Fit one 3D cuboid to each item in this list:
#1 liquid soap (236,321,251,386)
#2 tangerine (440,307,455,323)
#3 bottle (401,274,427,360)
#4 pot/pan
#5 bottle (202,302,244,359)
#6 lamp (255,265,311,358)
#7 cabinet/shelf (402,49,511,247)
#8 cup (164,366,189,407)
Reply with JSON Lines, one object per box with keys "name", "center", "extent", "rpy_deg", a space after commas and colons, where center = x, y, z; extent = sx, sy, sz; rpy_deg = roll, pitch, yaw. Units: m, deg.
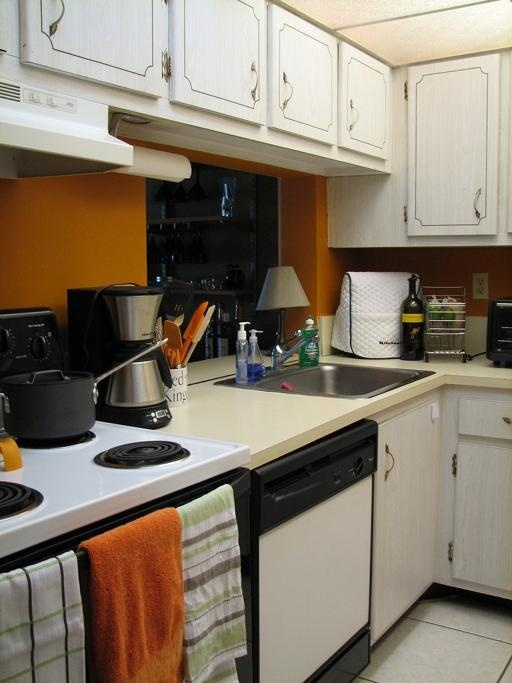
{"name": "liquid soap", "center": [-0.046, 0.039, 1.831], "extent": [0.047, 0.200, 0.107], "rpy_deg": [-1, 7, -2]}
{"name": "tangerine", "center": [0.844, -0.117, 2.321], "extent": [0.081, 0.059, 0.036], "rpy_deg": [-6, 9, -31]}
{"name": "bottle", "center": [0.685, -0.101, 2.304], "extent": [0.091, 0.360, 0.120], "rpy_deg": [1, 7, 19]}
{"name": "pot/pan", "center": [-0.363, 0.109, 1.032], "extent": [0.083, 0.120, 0.229], "rpy_deg": [0, 2, 32]}
{"name": "bottle", "center": [-0.168, -0.057, 2.597], "extent": [0.204, 0.273, 0.094], "rpy_deg": [-2, 7, -9]}
{"name": "lamp", "center": [0.101, -0.136, 2.226], "extent": [0.241, 0.485, 0.280], "rpy_deg": [-4, 8, -7]}
{"name": "cabinet/shelf", "center": [0.931, -0.810, 2.545], "extent": [0.526, 1.101, 0.515], "rpy_deg": [1, 2, 28]}
{"name": "cup", "center": [-0.210, 0.128, 1.443], "extent": [0.067, 0.098, 0.082], "rpy_deg": [1, 2, 27]}
